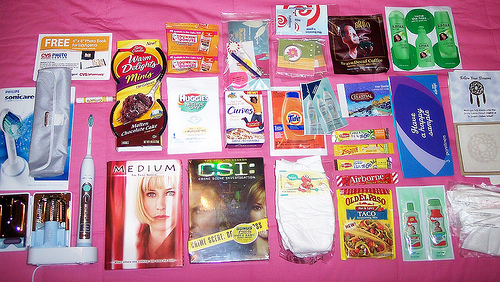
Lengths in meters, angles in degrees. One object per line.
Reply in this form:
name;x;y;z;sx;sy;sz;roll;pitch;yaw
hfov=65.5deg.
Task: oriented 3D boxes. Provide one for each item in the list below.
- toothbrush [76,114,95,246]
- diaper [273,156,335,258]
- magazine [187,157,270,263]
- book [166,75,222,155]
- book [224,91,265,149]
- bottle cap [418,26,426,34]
toothbrush;-1.324;0.346;3.164;0.151;1.103;0.144;2;-3;0
diaper;0.422;0.497;2.970;0.479;0.716;0.154;-4;-13;0
magazine;-0.206;0.551;3.144;0.683;0.808;0.088;-4;-7;-3
book;-0.480;-0.227;3.306;0.440;0.555;0.415;-3;28;0
book;-0.038;-0.175;3.368;0.375;0.448;0.482;-3;-3;0
bottle cap;1.540;-1.004;3.510;0.054;0.060;0.082;-1;9;4
